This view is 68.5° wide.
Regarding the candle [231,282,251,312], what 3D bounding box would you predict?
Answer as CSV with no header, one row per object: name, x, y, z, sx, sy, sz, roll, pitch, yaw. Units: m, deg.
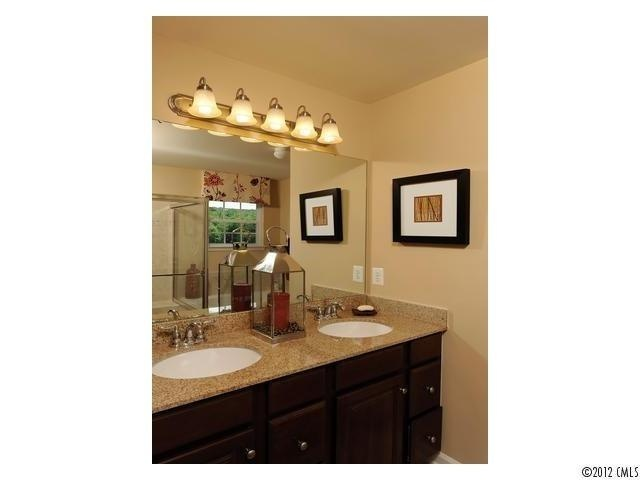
candle,-0.387,0.281,2.300,0.102,0.129,0.056,2,12,-13

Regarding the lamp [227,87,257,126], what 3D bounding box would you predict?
lamp,-0.379,-0.655,2.247,0.140,0.156,0.140,7,7,17

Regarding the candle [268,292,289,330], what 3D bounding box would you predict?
candle,-0.194,0.333,2.183,0.106,0.183,0.172,3,11,-6

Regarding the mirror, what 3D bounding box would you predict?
mirror,-0.339,-0.087,2.371,1.165,0.816,0.019,0,0,-37

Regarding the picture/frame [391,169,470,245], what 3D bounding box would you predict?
picture/frame,0.604,-0.177,2.516,0.033,0.376,0.425,0,-1,-39

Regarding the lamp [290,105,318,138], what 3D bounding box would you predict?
lamp,-0.080,-0.640,2.494,0.139,0.150,0.130,1,5,-9

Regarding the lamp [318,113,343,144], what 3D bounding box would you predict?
lamp,0.053,-0.630,2.577,0.138,0.204,0.112,-2,-15,9

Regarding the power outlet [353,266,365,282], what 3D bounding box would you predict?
power outlet,0.227,0.204,2.858,0.101,0.143,0.018,0,0,-37

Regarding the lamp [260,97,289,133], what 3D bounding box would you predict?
lamp,-0.220,-0.637,2.346,0.154,0.152,0.152,-1,10,-41

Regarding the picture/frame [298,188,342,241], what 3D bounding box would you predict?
picture/frame,-0.004,-0.132,2.704,0.237,0.274,0.025,-3,0,24

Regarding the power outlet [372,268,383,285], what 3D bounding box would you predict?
power outlet,0.348,0.222,2.860,0.016,0.119,0.104,3,-4,-36

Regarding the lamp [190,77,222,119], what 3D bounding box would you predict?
lamp,-0.527,-0.654,2.140,0.138,0.158,0.140,-3,7,-39
